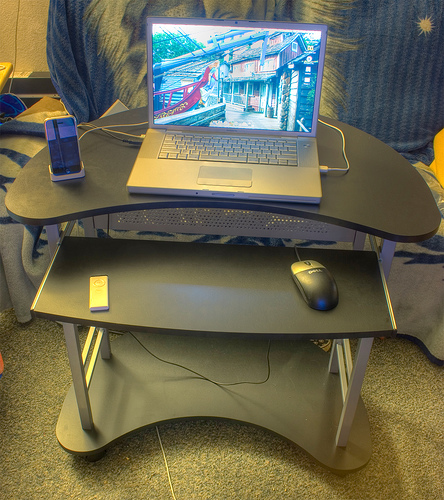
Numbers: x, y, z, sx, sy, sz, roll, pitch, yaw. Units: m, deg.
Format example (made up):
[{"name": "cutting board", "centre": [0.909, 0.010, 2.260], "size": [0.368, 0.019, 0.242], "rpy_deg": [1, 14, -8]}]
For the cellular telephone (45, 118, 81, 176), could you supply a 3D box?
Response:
[{"name": "cellular telephone", "centre": [-0.349, -0.224, 0.971], "size": [0.071, 0.120, 0.038], "rpy_deg": [-12, 39, -13]}]

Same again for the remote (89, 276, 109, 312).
[{"name": "remote", "centre": [-0.245, 0.086, 0.878], "size": [0.037, 0.010, 0.081], "rpy_deg": [-4, 45, -13]}]

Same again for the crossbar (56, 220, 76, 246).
[{"name": "crossbar", "centre": [-0.374, -0.040, 1.055], "size": [0.016, 0.113, 0.008], "rpy_deg": [45, 52, 1]}]

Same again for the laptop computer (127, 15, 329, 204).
[{"name": "laptop computer", "centre": [0.014, -0.302, 0.961], "size": [0.430, 0.260, 0.281], "rpy_deg": [5, 50, 3]}]

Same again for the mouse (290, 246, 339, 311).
[{"name": "mouse", "centre": [0.184, 0.045, 0.950], "size": [0.080, 0.043, 0.225], "rpy_deg": [-8, 30, -4]}]
